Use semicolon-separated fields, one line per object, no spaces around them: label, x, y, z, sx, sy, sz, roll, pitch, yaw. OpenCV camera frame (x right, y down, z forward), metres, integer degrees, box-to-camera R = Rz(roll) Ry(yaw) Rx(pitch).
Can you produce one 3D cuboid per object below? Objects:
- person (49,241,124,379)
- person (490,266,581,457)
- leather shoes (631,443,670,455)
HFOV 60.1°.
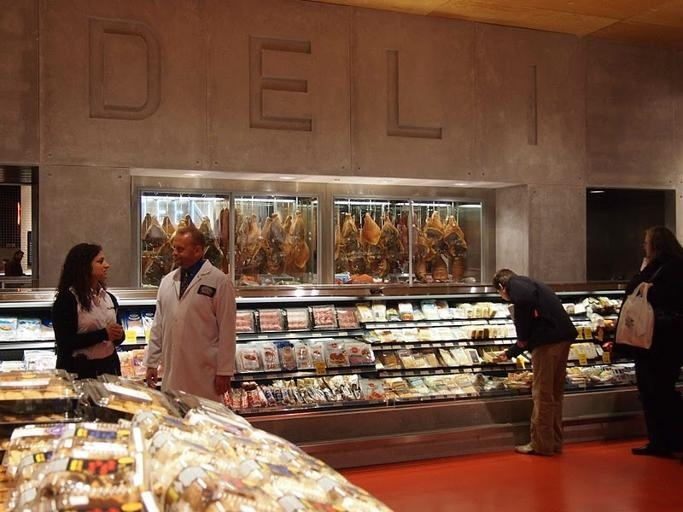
person;-1.918;0.416;4.416;0.469;0.993;0.478;-8;10;-24
person;1.853;0.990;5.592;0.712;1.678;0.542;-1;10;21
leather shoes;2.904;1.810;5.509;0.342;0.099;0.130;-1;10;18
